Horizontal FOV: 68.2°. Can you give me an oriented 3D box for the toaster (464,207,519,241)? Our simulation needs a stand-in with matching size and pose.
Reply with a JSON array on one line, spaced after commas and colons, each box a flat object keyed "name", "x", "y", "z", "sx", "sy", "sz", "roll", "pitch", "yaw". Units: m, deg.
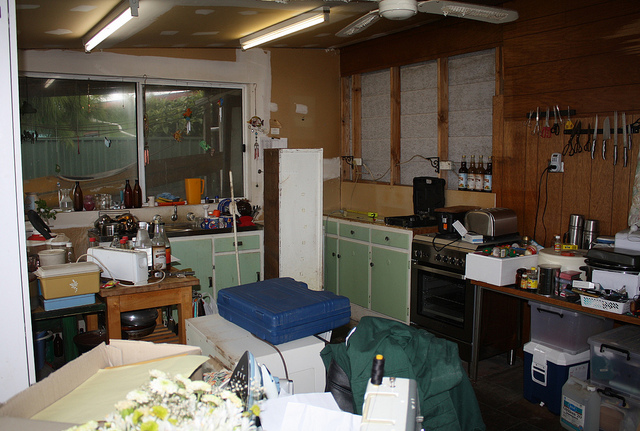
[{"name": "toaster", "x": 1.682, "y": 0.072, "z": 4.578, "sx": 0.519, "sy": 0.294, "sz": 0.274, "roll": -6, "pitch": 10, "yaw": -21}]

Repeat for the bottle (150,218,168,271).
[{"name": "bottle", "x": -1.344, "y": 0.255, "z": 3.917, "sx": 0.132, "sy": 0.373, "sz": 0.259, "roll": -5, "pitch": 9, "yaw": -9}]

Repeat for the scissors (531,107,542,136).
[{"name": "scissors", "x": 2.129, "y": -0.916, "z": 4.603, "sx": 0.058, "sy": 0.258, "sz": 0.034, "roll": -1, "pitch": 9, "yaw": 15}]

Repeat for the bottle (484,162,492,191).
[{"name": "bottle", "x": 1.815, "y": -0.431, "z": 5.111, "sx": 0.074, "sy": 0.302, "sz": 0.160, "roll": 0, "pitch": 9, "yaw": 17}]

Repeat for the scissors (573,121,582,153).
[{"name": "scissors", "x": 2.397, "y": -0.718, "z": 4.380, "sx": 0.024, "sy": 0.211, "sz": 0.073, "roll": 3, "pitch": 7, "yaw": -40}]

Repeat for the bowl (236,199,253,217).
[{"name": "bowl", "x": -0.899, "y": -0.097, "z": 5.620, "sx": 0.140, "sy": 0.190, "sz": 0.190, "roll": -27, "pitch": -12, "yaw": 34}]

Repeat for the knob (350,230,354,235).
[{"name": "knob", "x": 0.389, "y": 0.197, "z": 5.725, "sx": 0.050, "sy": 0.049, "sz": 0.015, "roll": -4, "pitch": -3, "yaw": 34}]

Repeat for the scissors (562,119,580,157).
[{"name": "scissors", "x": 2.344, "y": -0.700, "z": 4.418, "sx": 0.032, "sy": 0.273, "sz": 0.104, "roll": -16, "pitch": 33, "yaw": -42}]

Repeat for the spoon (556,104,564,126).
[{"name": "spoon", "x": 2.274, "y": -0.953, "z": 4.476, "sx": 0.018, "sy": 0.185, "sz": 0.075, "roll": -10, "pitch": 11, "yaw": -36}]

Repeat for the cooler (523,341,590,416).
[{"name": "cooler", "x": 2.050, "y": 1.388, "z": 4.108, "sx": 0.488, "sy": 0.523, "sz": 0.473, "roll": 1, "pitch": 3, "yaw": -39}]

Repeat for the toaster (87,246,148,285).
[{"name": "toaster", "x": -1.503, "y": 0.391, "z": 3.664, "sx": 0.479, "sy": 0.239, "sz": 0.130, "roll": 1, "pitch": 5, "yaw": 38}]

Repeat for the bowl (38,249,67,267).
[{"name": "bowl", "x": -1.987, "y": 0.305, "z": 3.499, "sx": 0.142, "sy": 0.133, "sz": 0.141, "roll": 0, "pitch": 1, "yaw": 0}]

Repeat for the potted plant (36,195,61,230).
[{"name": "potted plant", "x": -2.860, "y": -0.021, "z": 4.936, "sx": 0.165, "sy": 0.240, "sz": 0.188, "roll": 18, "pitch": -4, "yaw": -35}]

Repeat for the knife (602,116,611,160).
[{"name": "knife", "x": 2.561, "y": -0.694, "z": 4.218, "sx": 0.060, "sy": 0.370, "sz": 0.031, "roll": 1, "pitch": 10, "yaw": 25}]

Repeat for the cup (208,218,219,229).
[{"name": "cup", "x": -1.238, "y": 0.085, "z": 5.456, "sx": 0.165, "sy": 0.092, "sz": 0.111, "roll": 3, "pitch": -15, "yaw": -14}]

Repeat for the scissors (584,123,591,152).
[{"name": "scissors", "x": 2.454, "y": -0.718, "z": 4.327, "sx": 0.054, "sy": 0.244, "sz": 0.026, "roll": 4, "pitch": 11, "yaw": 36}]

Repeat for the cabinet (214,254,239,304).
[{"name": "cabinet", "x": -1.096, "y": 0.752, "z": 5.604, "sx": 0.339, "sy": 0.580, "sz": 0.332, "roll": 3, "pitch": -15, "yaw": -16}]

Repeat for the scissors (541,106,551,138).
[{"name": "scissors", "x": 2.182, "y": -0.898, "z": 4.557, "sx": 0.040, "sy": 0.274, "sz": 0.084, "roll": -8, "pitch": 10, "yaw": -26}]

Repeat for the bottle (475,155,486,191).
[{"name": "bottle", "x": 1.755, "y": -0.477, "z": 5.182, "sx": 0.104, "sy": 0.380, "sz": 0.190, "roll": 0, "pitch": 10, "yaw": 20}]

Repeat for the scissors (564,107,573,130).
[{"name": "scissors", "x": 2.320, "y": -0.904, "z": 4.408, "sx": 0.068, "sy": 0.187, "sz": 0.039, "roll": 2, "pitch": 10, "yaw": 27}]

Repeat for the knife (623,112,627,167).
[{"name": "knife", "x": 2.668, "y": -0.681, "z": 4.134, "sx": 0.022, "sy": 0.402, "sz": 0.041, "roll": -7, "pitch": 7, "yaw": -34}]
